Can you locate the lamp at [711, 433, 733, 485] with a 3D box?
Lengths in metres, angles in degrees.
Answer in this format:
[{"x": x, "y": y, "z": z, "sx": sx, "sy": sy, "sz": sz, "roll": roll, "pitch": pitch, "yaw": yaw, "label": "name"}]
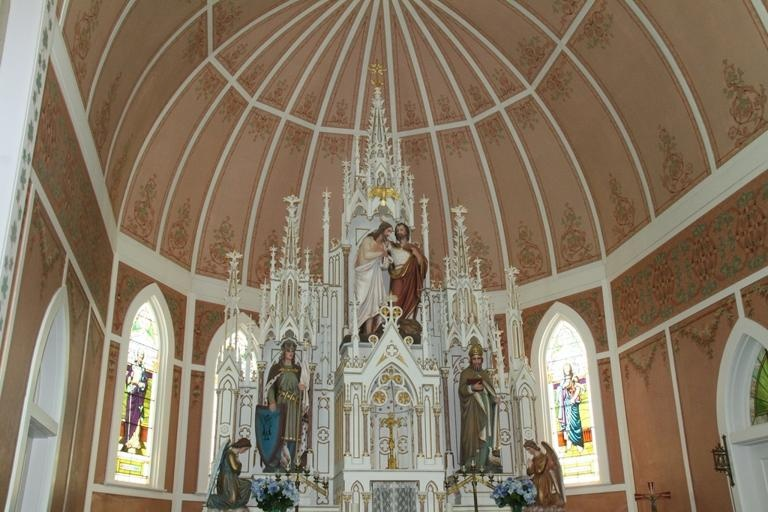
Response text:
[{"x": 6.685, "y": 4.053, "z": 12.637, "sx": 0.435, "sy": 0.946, "sz": 0.365, "roll": 18, "pitch": -29, "yaw": -35, "label": "lamp"}]
